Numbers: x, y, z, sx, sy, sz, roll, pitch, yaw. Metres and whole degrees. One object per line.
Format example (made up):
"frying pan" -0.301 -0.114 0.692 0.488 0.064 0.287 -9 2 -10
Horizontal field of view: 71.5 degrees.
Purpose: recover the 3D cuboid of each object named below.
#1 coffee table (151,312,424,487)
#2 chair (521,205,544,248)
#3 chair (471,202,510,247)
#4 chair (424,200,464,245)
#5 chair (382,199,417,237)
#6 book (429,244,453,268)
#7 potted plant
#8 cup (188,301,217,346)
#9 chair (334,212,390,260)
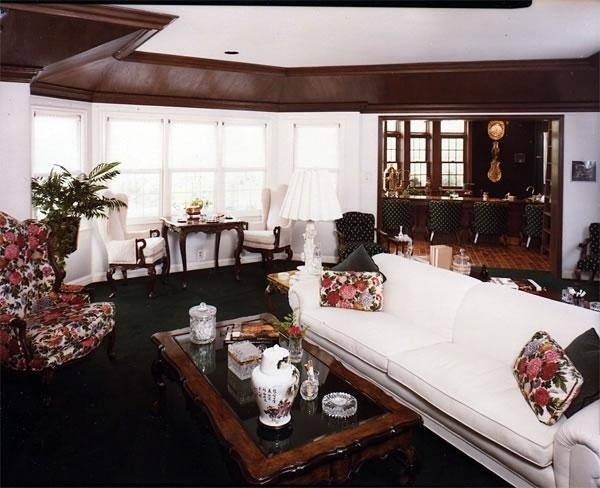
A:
"coffee table" -0.002 0.492 2.121 0.768 0.331 1.283 -8 15 -29
"chair" 4.760 -0.342 8.472 0.351 0.963 0.792 7 13 29
"chair" 4.106 -0.538 9.213 0.606 0.974 0.788 2 8 17
"chair" 3.227 -0.487 9.263 0.680 1.006 0.666 4 12 15
"chair" 2.172 -0.619 9.333 0.705 1.132 0.873 2 6 18
"book" 1.490 0.133 4.381 0.173 0.260 0.135 11 20 38
"potted plant" -2.711 -0.562 5.169 1.100 1.184 1.170 3 13 -4
"cup" -0.693 0.585 3.115 0.237 0.381 0.250 1 3 0
"chair" 1.043 -0.152 6.452 0.657 0.958 0.770 -2 4 -9
